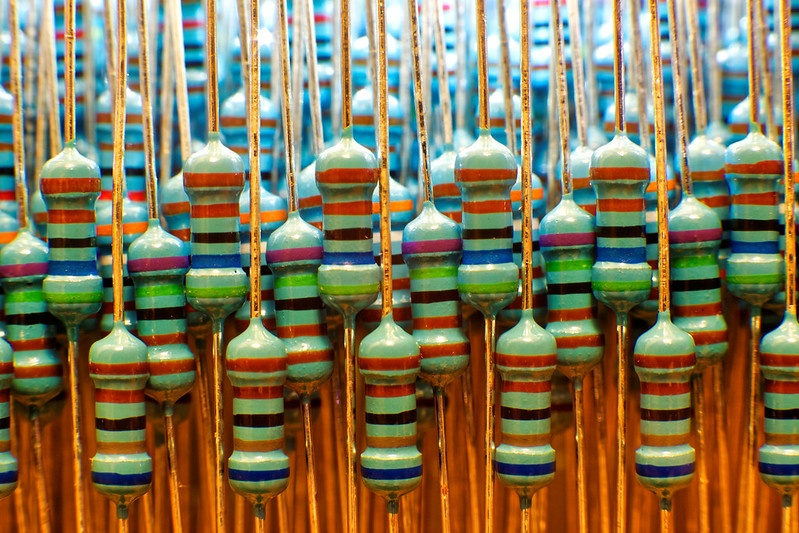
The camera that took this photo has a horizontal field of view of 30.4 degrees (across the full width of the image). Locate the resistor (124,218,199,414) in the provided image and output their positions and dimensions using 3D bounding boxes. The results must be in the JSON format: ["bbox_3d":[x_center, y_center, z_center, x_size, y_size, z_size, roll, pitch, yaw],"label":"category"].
[{"bbox_3d":[-0.374,0.077,2.324,0.127,0.282,0.130,-5,4,1],"label":"resistor"}]

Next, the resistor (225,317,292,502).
[{"bbox_3d":[-0.216,0.221,2.262,0.091,0.259,0.132,-3,24,13],"label":"resistor"}]
